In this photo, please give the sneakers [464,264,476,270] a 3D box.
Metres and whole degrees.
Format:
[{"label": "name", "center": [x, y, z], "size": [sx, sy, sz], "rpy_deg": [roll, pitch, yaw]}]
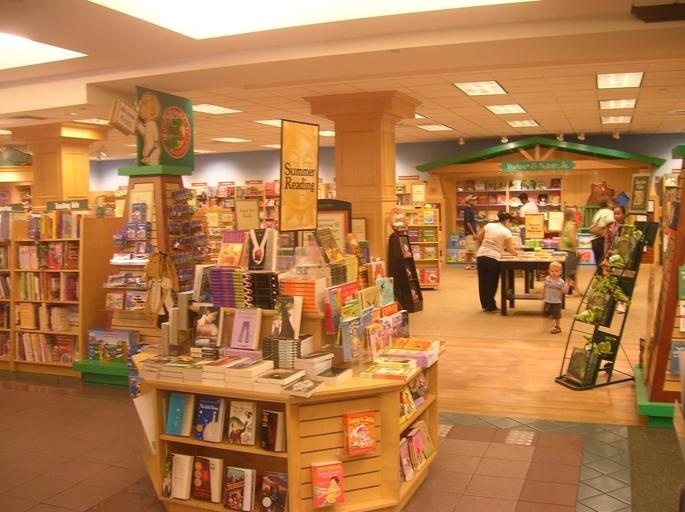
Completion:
[{"label": "sneakers", "center": [3.888, 0.352, 15.654], "size": [0.186, 0.101, 0.311], "rpy_deg": [0, -4, -28]}]
